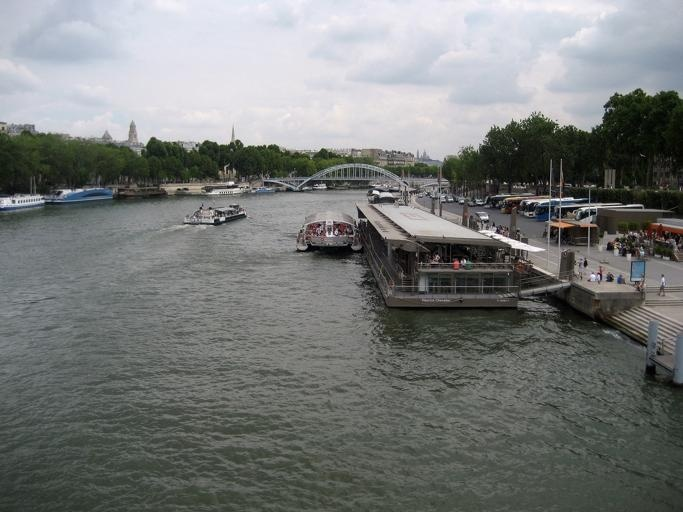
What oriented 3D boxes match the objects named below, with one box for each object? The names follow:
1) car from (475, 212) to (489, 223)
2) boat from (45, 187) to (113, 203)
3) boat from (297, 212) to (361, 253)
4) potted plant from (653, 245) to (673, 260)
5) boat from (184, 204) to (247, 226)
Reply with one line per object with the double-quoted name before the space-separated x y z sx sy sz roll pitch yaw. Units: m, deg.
"car" 20.162 -5.526 88.802 1.619 1.622 4.304 -2 1 3
"boat" -63.610 -14.284 150.635 5.939 2.822 12.193 7 13 37
"boat" -1.384 -2.532 71.275 5.438 2.582 9.431 -1 5 2
"potted plant" 27.757 -0.255 53.523 1.253 0.644 1.359 1 7 11
"boat" -20.509 -6.332 105.419 4.067 3.316 14.130 5 12 20
